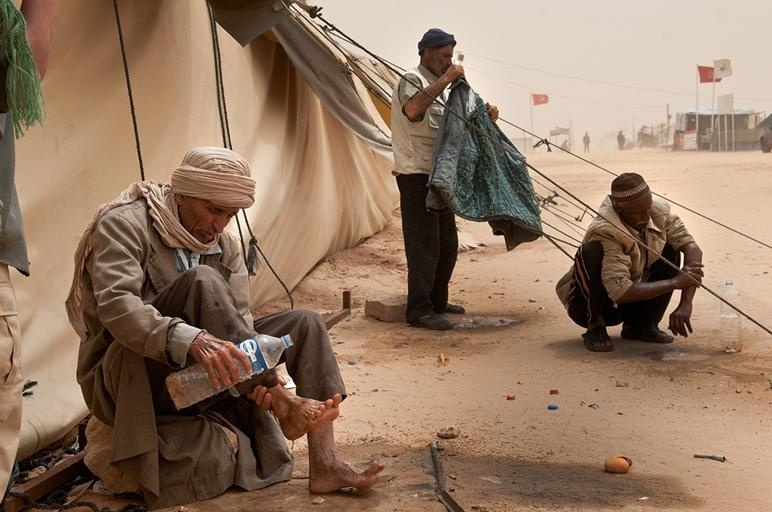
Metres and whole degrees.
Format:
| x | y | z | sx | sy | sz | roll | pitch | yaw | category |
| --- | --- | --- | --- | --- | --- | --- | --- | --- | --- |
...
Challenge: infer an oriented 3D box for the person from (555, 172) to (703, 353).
| x | y | z | sx | sy | sz | roll | pitch | yaw | category |
| --- | --- | --- | --- | --- | --- | --- | --- | --- | --- |
| 1.843 | 0.036 | 5.357 | 1.003 | 1.312 | 0.696 | 1 | 13 | 12 | person |

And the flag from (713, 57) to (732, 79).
| x | y | z | sx | sy | sz | roll | pitch | yaw | category |
| --- | --- | --- | --- | --- | --- | --- | --- | --- | --- |
| 15.262 | -8.464 | 32.225 | 0.600 | 0.745 | 0.755 | -11 | 15 | -38 | flag |

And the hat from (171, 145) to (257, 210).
| x | y | z | sx | sy | sz | roll | pitch | yaw | category |
| --- | --- | --- | --- | --- | --- | --- | --- | --- | --- |
| -0.834 | -0.392 | 3.510 | 0.362 | 0.203 | 0.316 | 12 | 9 | 18 | hat |

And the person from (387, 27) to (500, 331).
| x | y | z | sx | sy | sz | roll | pitch | yaw | category |
| --- | --- | --- | --- | --- | --- | --- | --- | --- | --- |
| 0.373 | -0.631 | 6.076 | 0.602 | 2.553 | 0.877 | -2 | 13 | 0 | person |

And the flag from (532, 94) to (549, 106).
| x | y | z | sx | sy | sz | roll | pitch | yaw | category |
| --- | --- | --- | --- | --- | --- | --- | --- | --- | --- |
| 9.853 | -9.992 | 45.386 | 1.533 | 0.845 | 0.064 | -1 | 14 | 4 | flag |

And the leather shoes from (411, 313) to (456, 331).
| x | y | z | sx | sy | sz | roll | pitch | yaw | category |
| --- | --- | --- | --- | --- | --- | --- | --- | --- | --- |
| 0.405 | 0.574 | 6.270 | 0.320 | 0.102 | 0.164 | -3 | 4 | 31 | leather shoes |

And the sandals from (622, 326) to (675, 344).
| x | y | z | sx | sy | sz | roll | pitch | yaw | category |
| --- | --- | --- | --- | --- | --- | --- | --- | --- | --- |
| 2.067 | 0.597 | 5.583 | 0.362 | 0.117 | 0.132 | 1 | 4 | 25 | sandals |

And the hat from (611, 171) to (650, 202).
| x | y | z | sx | sy | sz | roll | pitch | yaw | category |
| --- | --- | --- | --- | --- | --- | --- | --- | --- | --- |
| 1.788 | -0.505 | 5.212 | 0.247 | 0.192 | 0.271 | 0 | 12 | 10 | hat |

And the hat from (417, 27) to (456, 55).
| x | y | z | sx | sy | sz | roll | pitch | yaw | category |
| --- | --- | --- | --- | --- | --- | --- | --- | --- | --- |
| 0.437 | -1.829 | 6.078 | 0.301 | 0.203 | 0.231 | -1 | 12 | 1 | hat |
